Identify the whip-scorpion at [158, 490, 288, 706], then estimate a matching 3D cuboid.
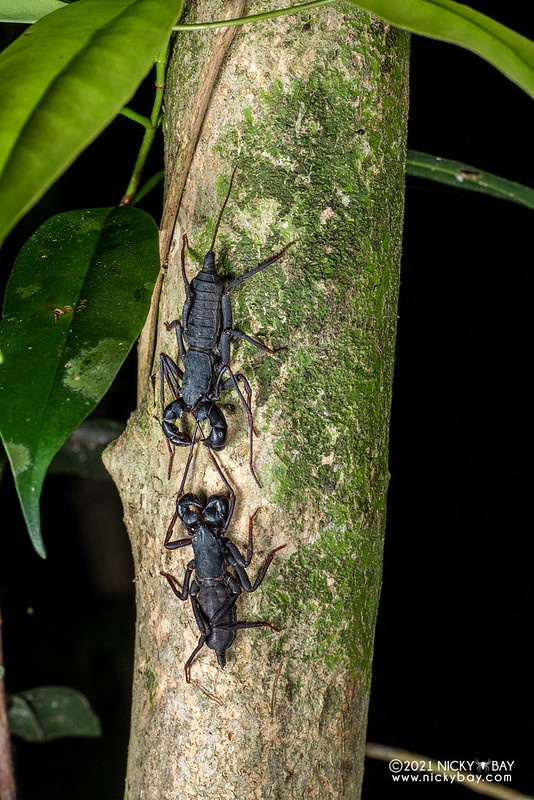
[{"bbox_3d":[-0.075,0.297,1.587,0.153,0.298,0.074,-7,-10,22],"label":"whip-scorpion"}]
